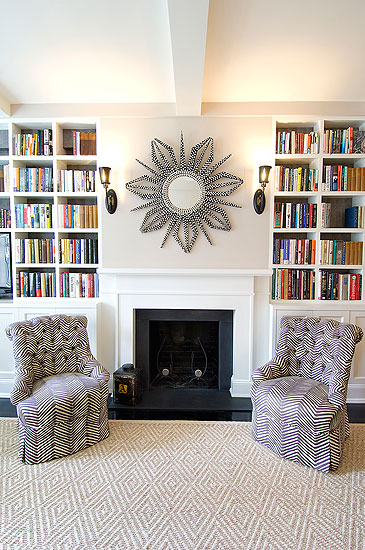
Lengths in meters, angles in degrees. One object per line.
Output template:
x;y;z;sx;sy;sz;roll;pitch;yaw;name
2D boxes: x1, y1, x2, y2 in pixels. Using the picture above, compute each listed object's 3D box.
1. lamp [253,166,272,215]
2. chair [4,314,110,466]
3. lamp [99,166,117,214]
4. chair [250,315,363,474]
0.629;-0.672;3.505;0.116;0.380;0.177;0;9;-1;lamp
-0.850;0.683;3.097;0.682;0.872;0.856;-4;8;-27;chair
-0.601;-0.684;3.568;0.135;0.378;0.169;-1;9;-8;lamp
0.831;0.720;3.147;0.736;0.978;0.859;3;6;39;chair
